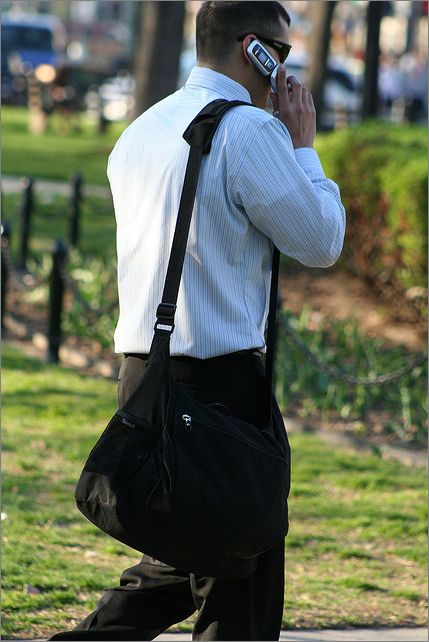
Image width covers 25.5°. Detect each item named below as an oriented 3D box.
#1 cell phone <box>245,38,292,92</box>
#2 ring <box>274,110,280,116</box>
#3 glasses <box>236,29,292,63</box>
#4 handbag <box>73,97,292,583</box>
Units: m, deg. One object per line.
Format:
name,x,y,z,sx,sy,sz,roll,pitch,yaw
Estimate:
cell phone,0.162,-0.697,2.644,0.062,0.189,0.058,-54,19,-26
ring,0.177,-0.586,2.705,0.017,0.022,0.012,-1,-5,7
glasses,0.157,-0.772,2.671,0.083,0.027,0.082,20,-2,-16
handbag,-0.056,0.077,2.369,0.501,1.204,0.354,-10,15,-42
